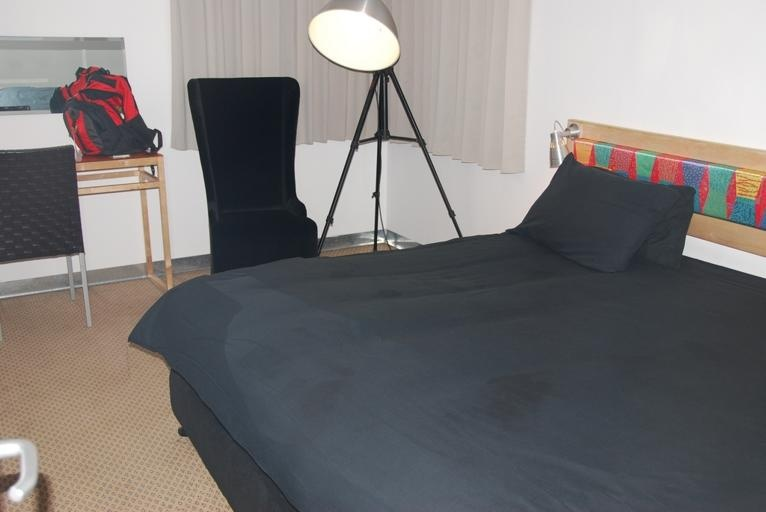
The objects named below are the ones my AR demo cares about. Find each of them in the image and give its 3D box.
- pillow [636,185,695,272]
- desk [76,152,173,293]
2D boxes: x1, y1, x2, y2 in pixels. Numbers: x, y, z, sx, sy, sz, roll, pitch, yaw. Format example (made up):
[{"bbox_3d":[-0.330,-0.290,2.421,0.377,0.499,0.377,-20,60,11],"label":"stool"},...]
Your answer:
[{"bbox_3d":[1.363,-0.143,2.611,0.310,0.344,0.098,11,-1,33],"label":"pillow"},{"bbox_3d":[-1.769,-0.247,3.702,0.554,0.992,0.705,-11,24,-29],"label":"desk"}]
